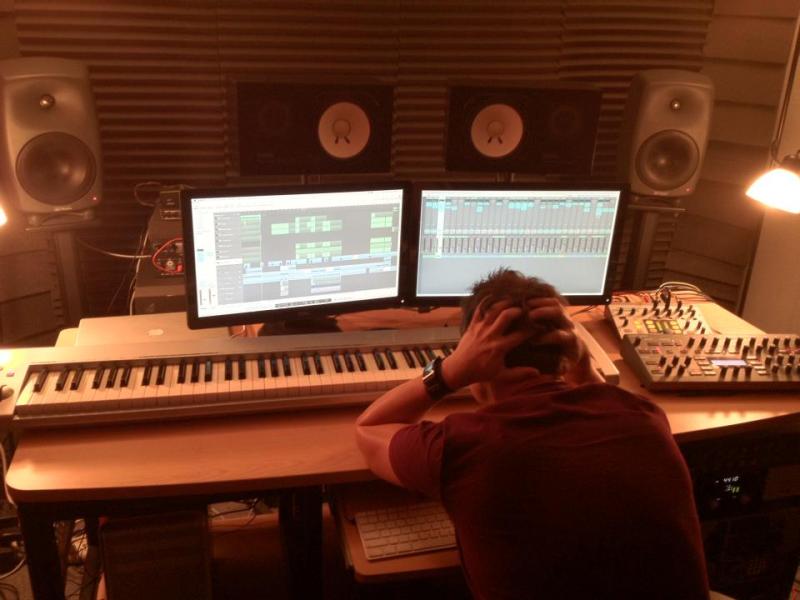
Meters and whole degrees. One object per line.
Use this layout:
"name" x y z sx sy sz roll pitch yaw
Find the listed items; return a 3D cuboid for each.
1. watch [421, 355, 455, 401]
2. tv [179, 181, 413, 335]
"watch" 0.098 0.221 1.797 0.073 0.117 0.119 -26 2 14
"tv" -0.363 -0.154 2.241 0.584 0.051 0.331 -5 -72 -19
